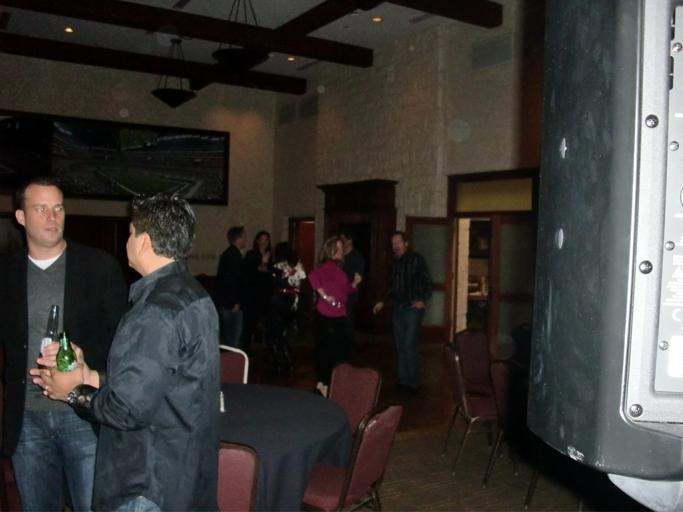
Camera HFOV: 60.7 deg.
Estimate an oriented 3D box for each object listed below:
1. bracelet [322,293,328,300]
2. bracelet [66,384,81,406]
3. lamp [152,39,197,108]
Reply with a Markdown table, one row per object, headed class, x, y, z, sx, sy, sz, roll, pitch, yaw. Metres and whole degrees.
| class | x | y | z | sx | sy | sz | roll | pitch | yaw |
| --- | --- | --- | --- | --- | --- | --- | --- | --- | --- |
| bracelet | -0.138 | 0.353 | 5.006 | 0.037 | 0.036 | 0.037 | -2 | 7 | -31 |
| bracelet | -0.796 | 0.415 | 1.743 | 0.021 | 0.060 | 0.046 | 17 | 2 | 30 |
| lamp | -2.832 | -3.099 | 9.775 | 0.703 | 1.281 | 0.699 | -12 | 25 | -33 |
